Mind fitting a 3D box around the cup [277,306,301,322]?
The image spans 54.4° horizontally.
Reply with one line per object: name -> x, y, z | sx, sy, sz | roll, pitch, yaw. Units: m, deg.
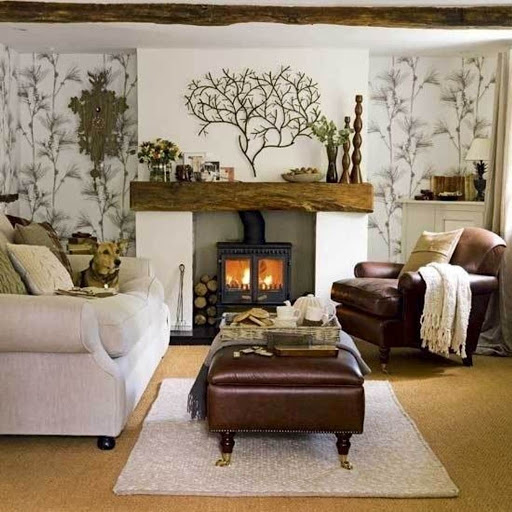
cup -> 0.163, 0.288, 2.427 | 0.099, 0.066, 0.066 | 8, -29, -10

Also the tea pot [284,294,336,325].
tea pot -> 0.282, 0.263, 2.508 | 0.226, 0.187, 0.142 | 2, -2, 21

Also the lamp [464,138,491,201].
lamp -> 2.003, -0.796, 4.525 | 0.192, 0.575, 0.660 | 2, 4, 23

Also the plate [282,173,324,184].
plate -> 0.399, -0.678, 4.337 | 0.353, 0.083, 0.257 | 1, 4, 3

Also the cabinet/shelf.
cabinet/shelf -> 1.560, -0.225, 4.153 | 0.635, 0.584, 0.248 | 1, 1, 23

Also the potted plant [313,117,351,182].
potted plant -> 0.655, -0.937, 4.330 | 0.347, 0.594, 0.267 | 1, 4, 3

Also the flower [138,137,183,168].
flower -> -0.834, -0.882, 4.342 | 0.283, 0.196, 0.279 | 0, 2, 5

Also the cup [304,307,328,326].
cup -> 0.297, 0.297, 2.415 | 0.109, 0.092, 0.070 | 8, -25, 12
